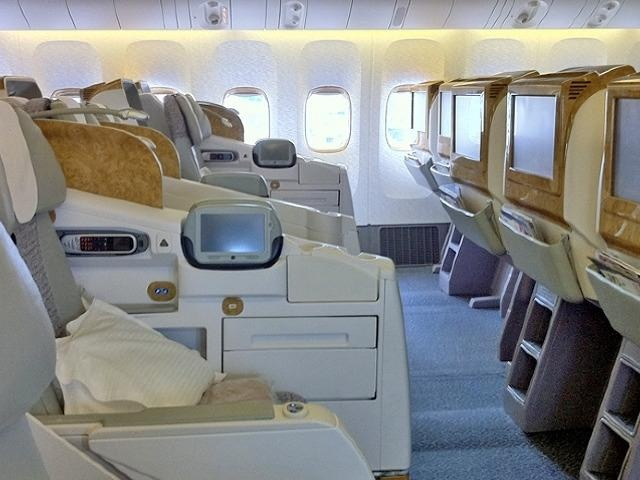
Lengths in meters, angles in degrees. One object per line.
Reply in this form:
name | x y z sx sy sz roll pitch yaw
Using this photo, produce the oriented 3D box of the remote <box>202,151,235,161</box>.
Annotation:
remote | -0.843 -0.698 4.078 0.284 0.105 0.069 0 12 -11
